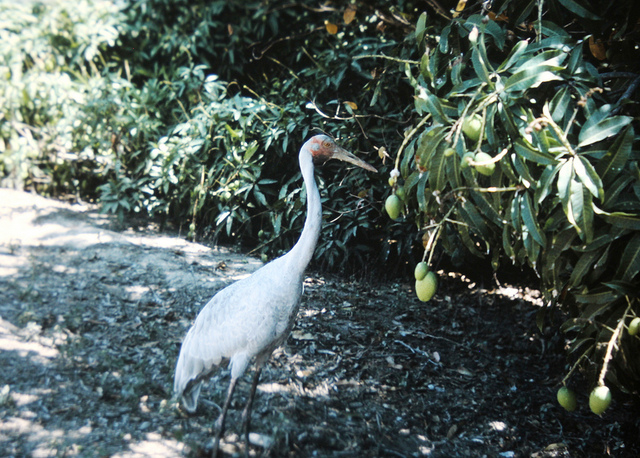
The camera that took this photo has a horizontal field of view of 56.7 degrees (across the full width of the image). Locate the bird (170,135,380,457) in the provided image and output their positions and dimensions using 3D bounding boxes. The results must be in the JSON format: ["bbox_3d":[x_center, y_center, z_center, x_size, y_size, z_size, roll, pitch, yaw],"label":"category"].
[{"bbox_3d":[-0.417,0.401,4.034,1.004,1.775,0.542,8,3,-3],"label":"bird"}]
